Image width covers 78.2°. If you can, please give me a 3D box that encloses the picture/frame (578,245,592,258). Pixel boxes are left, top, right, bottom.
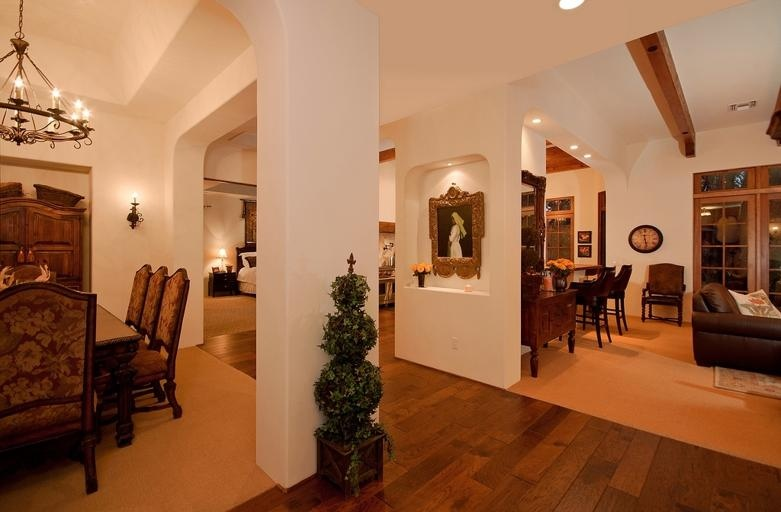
[{"bbox_3d":[4.344,-0.121,10.696,0.028,0.260,0.261,0,6,-38],"label":"picture/frame"}]

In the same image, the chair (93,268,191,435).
[{"bbox_3d":[-3.022,0.953,5.455,1.047,1.622,1.042,8,5,6],"label":"chair"}]

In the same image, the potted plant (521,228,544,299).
[{"bbox_3d":[1.973,0.062,6.689,0.283,0.778,0.868,-1,-1,17],"label":"potted plant"}]

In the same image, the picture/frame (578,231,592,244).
[{"bbox_3d":[4.342,-0.431,10.676,0.027,0.265,0.257,-3,7,-40],"label":"picture/frame"}]

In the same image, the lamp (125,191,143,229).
[{"bbox_3d":[-3.895,-0.668,7.292,0.227,0.519,0.107,-1,-1,-30],"label":"lamp"}]

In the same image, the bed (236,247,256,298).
[{"bbox_3d":[-3.807,0.387,12.590,0.447,1.225,1.630,-1,-1,-18],"label":"bed"}]

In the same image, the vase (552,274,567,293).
[{"bbox_3d":[2.444,0.391,6.852,0.202,0.221,0.210,-2,-4,32],"label":"vase"}]

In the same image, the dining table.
[{"bbox_3d":[-2.981,1.235,5.042,0.626,0.835,1.604,3,-1,-40],"label":"dining table"}]

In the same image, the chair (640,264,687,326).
[{"bbox_3d":[5.080,0.691,8.916,0.642,1.083,0.565,3,1,35],"label":"chair"}]

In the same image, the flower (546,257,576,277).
[{"bbox_3d":[2.469,0.156,7.016,0.294,0.214,0.305,1,1,37],"label":"flower"}]

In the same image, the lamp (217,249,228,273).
[{"bbox_3d":[-4.472,0.085,12.730,0.217,0.590,0.392,-1,-1,-20],"label":"lamp"}]

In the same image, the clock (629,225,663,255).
[{"bbox_3d":[4.983,-0.329,9.366,0.489,0.517,0.505,1,-3,10],"label":"clock"}]

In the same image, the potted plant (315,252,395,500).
[{"bbox_3d":[-0.384,1.182,4.647,0.742,2.143,0.313,-1,-1,-7],"label":"potted plant"}]

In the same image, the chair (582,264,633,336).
[{"bbox_3d":[3.635,0.682,8.220,0.669,1.085,0.698,-15,1,-32],"label":"chair"}]

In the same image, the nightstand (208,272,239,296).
[{"bbox_3d":[-4.307,0.675,12.435,0.532,0.717,0.754,-4,-4,42],"label":"nightstand"}]

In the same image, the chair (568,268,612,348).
[{"bbox_3d":[3.418,0.802,8.028,0.570,1.087,1.829,-2,-1,22],"label":"chair"}]
